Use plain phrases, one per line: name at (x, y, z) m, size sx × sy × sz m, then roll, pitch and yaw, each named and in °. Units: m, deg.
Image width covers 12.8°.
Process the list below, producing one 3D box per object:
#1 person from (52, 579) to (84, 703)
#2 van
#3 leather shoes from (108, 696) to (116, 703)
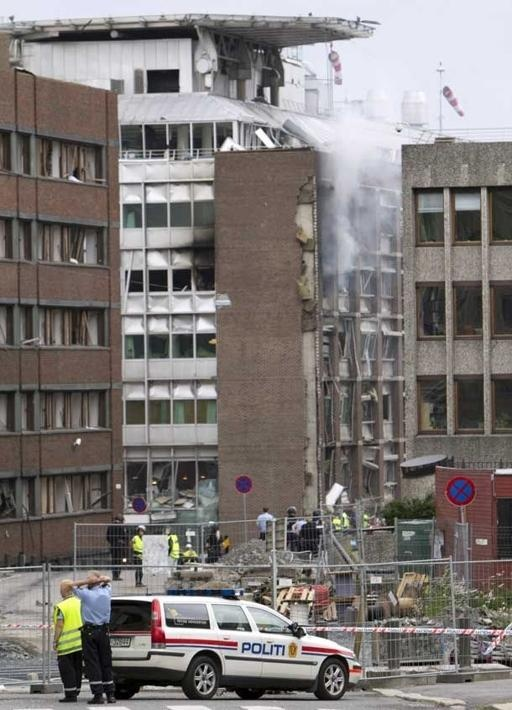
person at (-2.628, 4.080, 32.479) m, size 0.402 × 1.773 × 0.586 m, roll -2°, pitch -5°, yaw -5°
van at (-0.385, 4.352, 34.021) m, size 3.273 × 1.522 × 1.570 m, roll 0°, pitch -3°, yaw -37°
leather shoes at (-2.005, 4.926, 32.411) m, size 0.105 × 0.136 × 0.117 m, roll 0°, pitch 1°, yaw 5°
